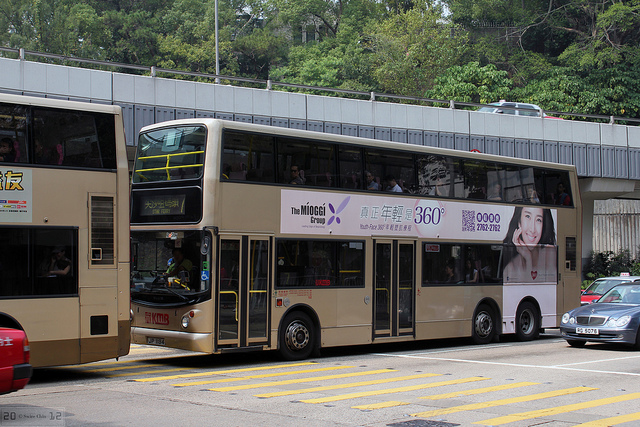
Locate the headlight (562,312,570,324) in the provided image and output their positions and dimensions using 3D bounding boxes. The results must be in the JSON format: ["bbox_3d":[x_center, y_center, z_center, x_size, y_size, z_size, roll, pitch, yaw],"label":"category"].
[{"bbox_3d":[7.422,3.140,22.708,0.102,0.270,0.177,19,-3,-40],"label":"headlight"}]

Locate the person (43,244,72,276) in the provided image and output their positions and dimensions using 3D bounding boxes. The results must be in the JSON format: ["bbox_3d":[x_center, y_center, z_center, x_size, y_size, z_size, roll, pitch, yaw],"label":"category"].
[{"bbox_3d":[-5.760,1.027,16.681,0.578,0.873,0.586,-1,-6,5],"label":"person"}]

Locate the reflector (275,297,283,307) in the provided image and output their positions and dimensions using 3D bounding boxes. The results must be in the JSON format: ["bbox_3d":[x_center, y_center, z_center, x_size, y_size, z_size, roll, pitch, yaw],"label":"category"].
[{"bbox_3d":[-1.062,2.257,19.288,0.102,0.214,0.217,-5,-8,43],"label":"reflector"}]

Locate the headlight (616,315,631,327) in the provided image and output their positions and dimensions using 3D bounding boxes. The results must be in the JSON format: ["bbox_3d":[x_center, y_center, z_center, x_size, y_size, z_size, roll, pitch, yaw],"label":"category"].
[{"bbox_3d":[8.769,3.080,21.764,0.404,0.307,0.132,0,2,-17],"label":"headlight"}]

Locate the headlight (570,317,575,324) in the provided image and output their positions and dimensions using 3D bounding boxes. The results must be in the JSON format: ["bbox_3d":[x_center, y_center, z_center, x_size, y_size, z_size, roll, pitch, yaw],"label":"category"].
[{"bbox_3d":[7.528,3.176,22.469,0.128,0.144,0.136,-2,4,-6],"label":"headlight"}]

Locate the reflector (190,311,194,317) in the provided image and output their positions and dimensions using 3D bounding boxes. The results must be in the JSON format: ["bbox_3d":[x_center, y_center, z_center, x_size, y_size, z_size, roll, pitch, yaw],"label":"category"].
[{"bbox_3d":[-3.109,2.425,18.251,0.130,0.143,0.044,-2,-3,-7],"label":"reflector"}]
